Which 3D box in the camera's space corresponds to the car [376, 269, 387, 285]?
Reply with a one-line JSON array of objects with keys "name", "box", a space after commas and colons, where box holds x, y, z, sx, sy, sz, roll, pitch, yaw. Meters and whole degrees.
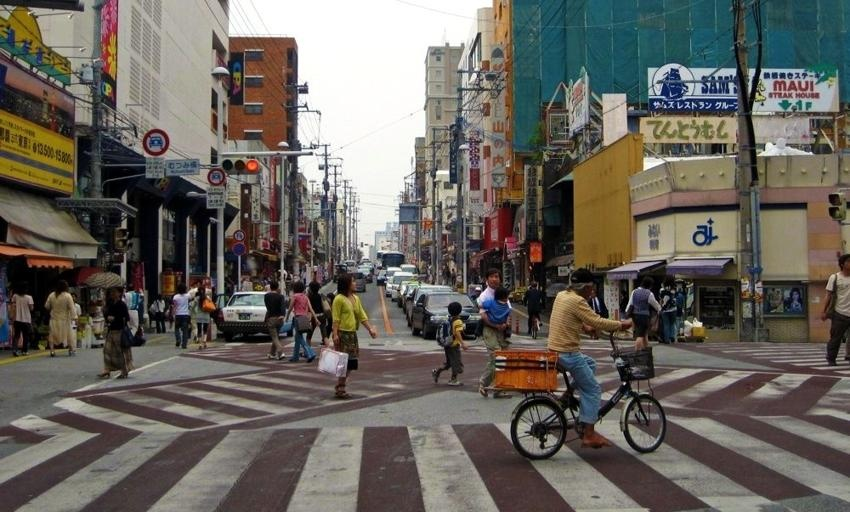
[{"name": "car", "box": [-4.385, 2.250, 92.325, 1.126, 0.967, 2.436, 0, -5, -4]}]

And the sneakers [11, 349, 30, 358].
[{"name": "sneakers", "box": [-14.961, 3.578, 33.737, 0.231, 0.303, 0.700, 1, 0, 13]}]

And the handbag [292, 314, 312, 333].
[{"name": "handbag", "box": [-4.392, 2.436, 32.861, 0.830, 0.816, 0.522, 0, -8, -11]}]

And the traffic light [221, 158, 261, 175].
[{"name": "traffic light", "box": [-8.137, -3.953, 40.294, 1.520, 0.611, 0.477, -5, 11, -16]}]

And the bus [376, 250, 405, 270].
[{"name": "bus", "box": [-4.107, 0.530, 109.502, 2.467, 2.475, 8.280, 0, -2, -5]}]

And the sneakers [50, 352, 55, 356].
[{"name": "sneakers", "box": [-13.734, 3.606, 33.770, 0.164, 0.192, 0.169, 6, 8, 37]}]

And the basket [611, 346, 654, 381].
[{"name": "basket", "box": [5.371, 2.764, 23.289, 0.967, 0.751, 0.840, -4, -8, 26]}]

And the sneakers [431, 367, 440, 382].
[{"name": "sneakers", "box": [0.334, 3.746, 28.823, 0.161, 0.505, 0.225, 1, 2, 13]}]

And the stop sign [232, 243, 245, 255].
[{"name": "stop sign", "box": [-10.932, -0.383, 53.770, 0.611, 0.722, 0.936, -5, 11, -16]}]

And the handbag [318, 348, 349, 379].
[{"name": "handbag", "box": [-2.679, 3.162, 27.106, 1.099, 1.046, 0.500, 4, 1, 34]}]

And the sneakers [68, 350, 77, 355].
[{"name": "sneakers", "box": [-13.321, 3.633, 34.521, 0.154, 0.176, 0.424, -1, -5, -29]}]
